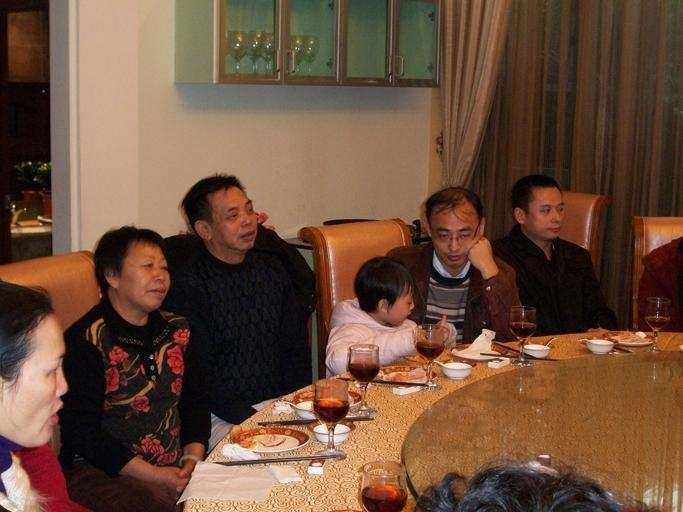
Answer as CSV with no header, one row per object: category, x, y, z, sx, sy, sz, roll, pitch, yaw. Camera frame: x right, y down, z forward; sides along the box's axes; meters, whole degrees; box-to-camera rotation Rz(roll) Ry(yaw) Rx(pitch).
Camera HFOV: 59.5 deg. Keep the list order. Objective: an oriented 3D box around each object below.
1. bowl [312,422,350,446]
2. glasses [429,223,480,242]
bowl,-0.026,0.434,1.443,0.067,0.028,0.069,1,-4,0
glasses,0.483,-0.093,2.539,0.205,0.064,0.124,-8,-2,13
